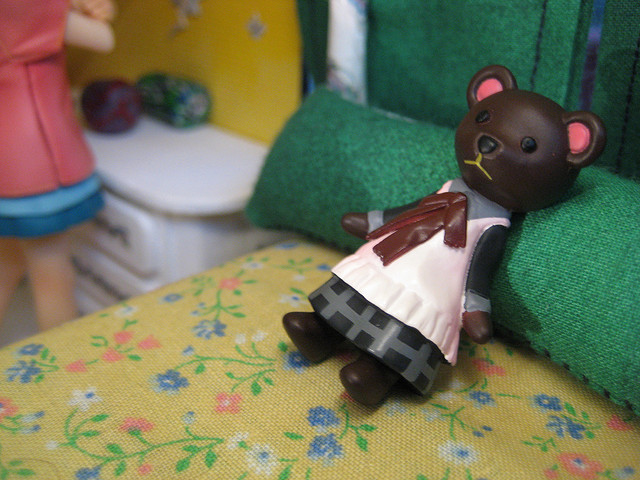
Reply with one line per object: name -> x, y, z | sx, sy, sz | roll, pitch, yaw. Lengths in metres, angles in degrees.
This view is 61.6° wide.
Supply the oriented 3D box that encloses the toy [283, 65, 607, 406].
toy -> 0.202, -0.003, 0.913 | 0.358, 0.577, 0.344 | 22, 18, 8
